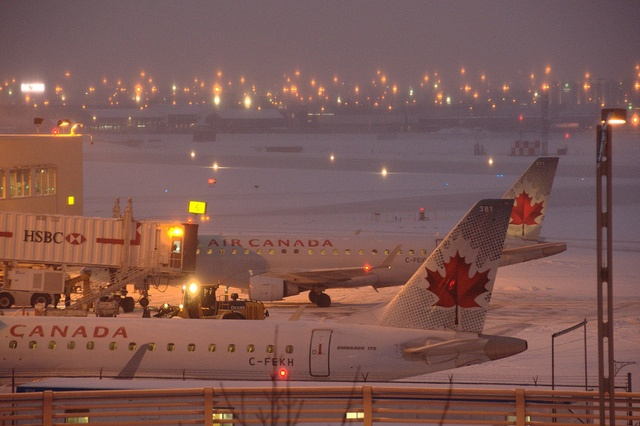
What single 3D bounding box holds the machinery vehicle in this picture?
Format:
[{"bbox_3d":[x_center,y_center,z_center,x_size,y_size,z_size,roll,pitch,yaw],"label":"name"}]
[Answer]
[{"bbox_3d":[-14.617,13.074,192.080,14.347,6.501,8.733,-3,7,-5],"label":"machinery vehicle"}]
